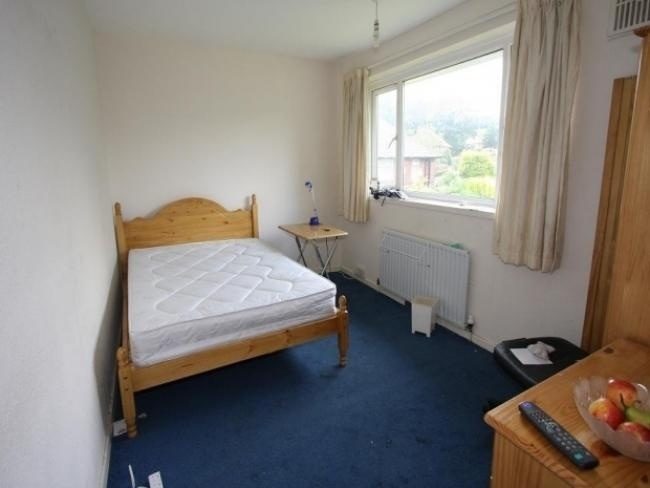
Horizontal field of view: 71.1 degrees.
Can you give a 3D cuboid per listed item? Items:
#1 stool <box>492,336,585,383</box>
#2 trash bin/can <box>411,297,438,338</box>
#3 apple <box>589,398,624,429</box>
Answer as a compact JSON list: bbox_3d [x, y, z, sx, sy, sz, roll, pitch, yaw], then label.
[{"bbox_3d":[1.346,0.686,2.967,0.418,0.246,0.429,3,10,-24],"label":"stool"},{"bbox_3d":[0.868,0.623,4.074,0.270,0.384,0.278,4,10,26],"label":"trash bin/can"},{"bbox_3d":[1.177,0.702,1.902,0.106,0.109,0.109,-2,4,4],"label":"apple"}]
